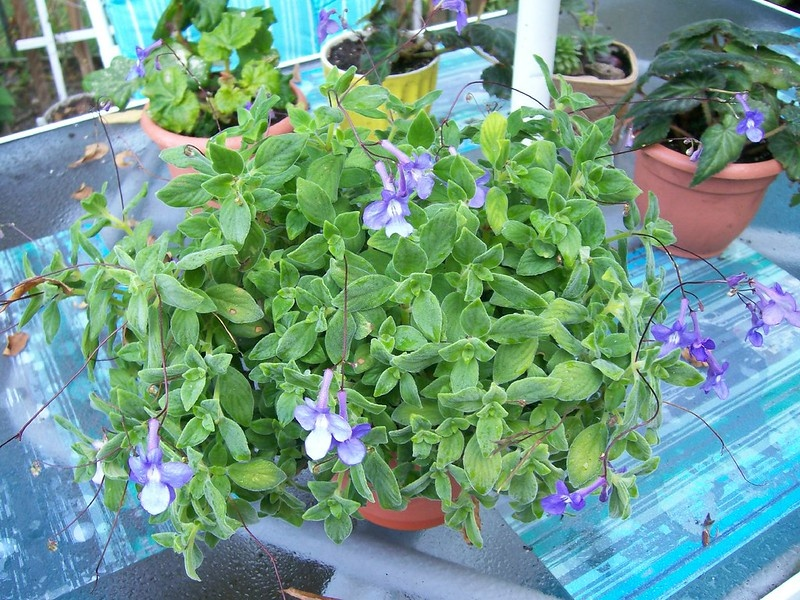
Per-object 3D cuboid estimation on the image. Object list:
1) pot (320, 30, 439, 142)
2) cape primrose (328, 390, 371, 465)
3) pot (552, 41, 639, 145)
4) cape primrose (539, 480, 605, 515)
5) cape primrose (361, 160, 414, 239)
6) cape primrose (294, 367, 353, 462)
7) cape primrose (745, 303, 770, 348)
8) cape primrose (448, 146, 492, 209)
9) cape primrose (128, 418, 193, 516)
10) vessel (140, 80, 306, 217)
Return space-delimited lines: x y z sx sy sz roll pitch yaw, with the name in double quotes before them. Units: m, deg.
"pot" -0.093 -0.946 2.742 0.485 0.310 0.542 23 40 28
"cape primrose" -0.092 0.216 1.135 0.078 0.033 0.172 9 46 -23
"pot" 0.813 -0.907 2.735 0.345 0.305 0.675 9 35 11
"cape primrose" 0.332 0.369 1.274 0.132 0.075 0.053 -1 17 -19
"cape primrose" -0.022 -0.177 1.199 0.093 0.133 0.046 -8 -7 -16
"cape primrose" -0.133 0.196 1.116 0.107 0.042 0.199 25 39 -18
"cape primrose" 0.836 0.062 1.512 0.067 0.113 0.036 -12 13 -15
"cape primrose" 0.161 -0.256 1.347 0.102 0.138 0.055 12 20 37
"cape primrose" -0.425 0.285 1.121 0.119 0.051 0.219 28 18 -34
"vessel" -0.580 -0.562 2.228 0.531 0.382 0.569 -12 55 -11
